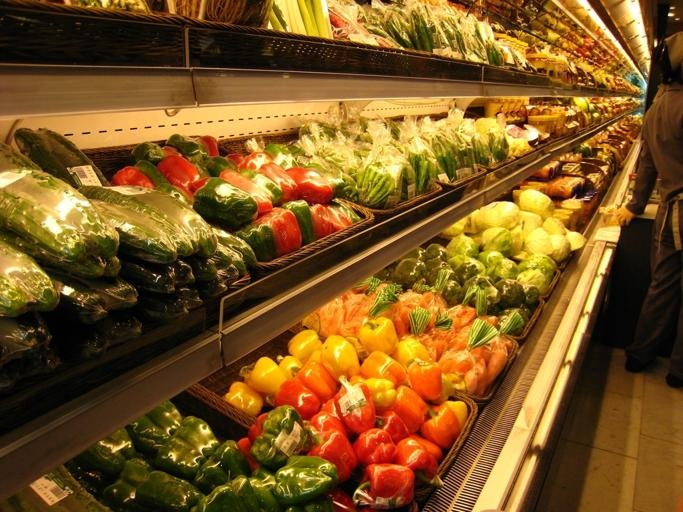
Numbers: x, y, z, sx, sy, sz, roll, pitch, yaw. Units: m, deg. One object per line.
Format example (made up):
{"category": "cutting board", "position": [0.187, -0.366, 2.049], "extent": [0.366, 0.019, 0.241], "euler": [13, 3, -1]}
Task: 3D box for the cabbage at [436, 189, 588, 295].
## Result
{"category": "cabbage", "position": [1.034, -0.010, 3.103], "extent": [1.003, 0.262, 0.843], "euler": [32, 49, 30]}
